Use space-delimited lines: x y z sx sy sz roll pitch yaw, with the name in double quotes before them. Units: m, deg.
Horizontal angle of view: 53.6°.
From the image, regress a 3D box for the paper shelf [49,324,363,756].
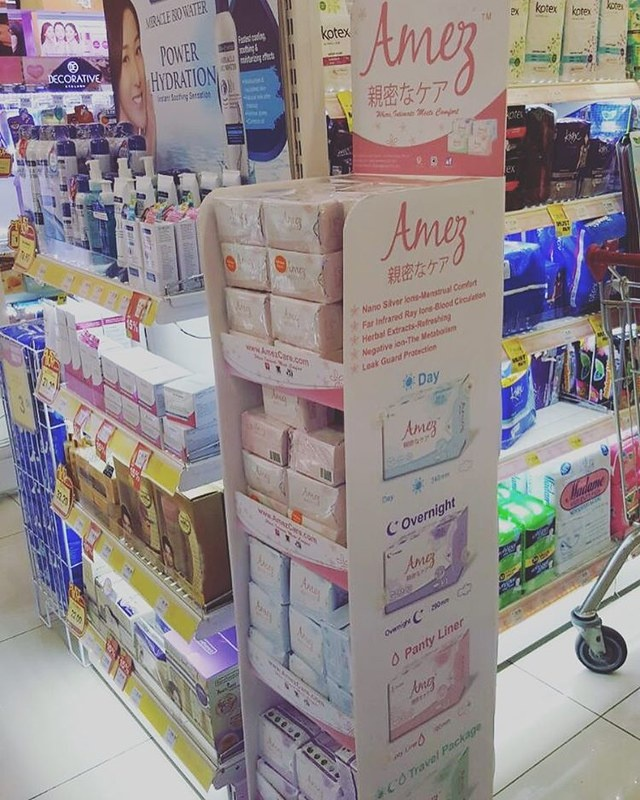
"paper shelf" -0.280 0.331 1.506 0.345 1.090 1.027 -21 32 -33
